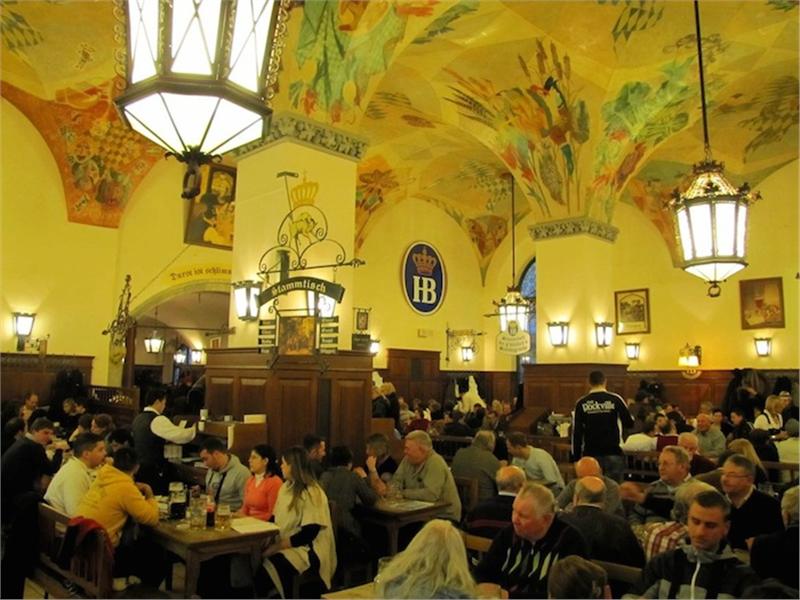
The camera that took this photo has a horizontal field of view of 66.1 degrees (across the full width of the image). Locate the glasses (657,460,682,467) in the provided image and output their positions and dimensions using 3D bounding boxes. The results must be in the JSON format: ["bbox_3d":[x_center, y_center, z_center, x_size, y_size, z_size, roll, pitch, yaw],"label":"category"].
[{"bbox_3d":[2.428,1.465,5.503,0.176,0.060,0.051,-2,-8,24],"label":"glasses"}]

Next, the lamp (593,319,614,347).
[{"bbox_3d":[3.990,0.651,12.232,0.418,0.545,0.512,-5,-10,44],"label":"lamp"}]

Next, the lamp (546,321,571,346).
[{"bbox_3d":[3.151,0.667,12.305,0.469,0.537,0.427,-1,-8,23],"label":"lamp"}]

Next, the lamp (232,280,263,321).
[{"bbox_3d":[-2.155,-0.003,8.594,0.502,0.549,0.227,-4,-9,32],"label":"lamp"}]

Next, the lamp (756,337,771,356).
[{"bbox_3d":[8.696,1.087,14.658,0.383,0.447,0.379,-2,-10,34],"label":"lamp"}]

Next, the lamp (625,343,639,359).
[{"bbox_3d":[6.325,1.366,16.730,0.402,0.406,0.384,0,-10,9],"label":"lamp"}]

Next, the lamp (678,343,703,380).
[{"bbox_3d":[7.426,1.555,15.705,0.749,0.974,0.744,12,-13,-39],"label":"lamp"}]

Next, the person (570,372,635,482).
[{"bbox_3d":[2.599,1.842,7.976,0.755,1.833,0.564,-1,3,11],"label":"person"}]

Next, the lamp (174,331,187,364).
[{"bbox_3d":[-8.111,1.771,22.619,0.492,1.082,0.815,4,-8,-19],"label":"lamp"}]

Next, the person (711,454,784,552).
[{"bbox_3d":[2.703,1.586,4.788,0.411,0.713,0.429,22,-36,-13],"label":"person"}]

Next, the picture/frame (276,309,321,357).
[{"bbox_3d":[-1.348,0.443,7.926,0.642,0.549,0.071,-3,-8,28],"label":"picture/frame"}]

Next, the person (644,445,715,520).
[{"bbox_3d":[2.483,1.692,5.538,0.490,0.769,0.629,17,-16,-41],"label":"person"}]

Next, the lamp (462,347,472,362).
[{"bbox_3d":[2.023,1.616,18.601,0.379,0.501,0.432,-4,-8,36],"label":"lamp"}]

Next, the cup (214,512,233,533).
[{"bbox_3d":[-1.500,1.849,5.149,0.152,0.131,0.100,3,-8,-6],"label":"cup"}]

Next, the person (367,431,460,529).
[{"bbox_3d":[0.110,1.903,6.610,1.003,0.988,0.857,2,-7,-6],"label":"person"}]

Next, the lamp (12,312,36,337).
[{"bbox_3d":[-7.208,0.441,11.829,0.390,0.469,0.472,-9,-9,41],"label":"lamp"}]

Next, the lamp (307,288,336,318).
[{"bbox_3d":[-1.058,0.044,8.095,0.381,0.236,0.301,2,-7,-18],"label":"lamp"}]

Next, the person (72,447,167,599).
[{"bbox_3d":[-2.454,1.962,5.399,0.739,1.164,0.721,3,2,40],"label":"person"}]

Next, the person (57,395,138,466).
[{"bbox_3d":[-4.035,1.690,8.083,0.353,0.653,0.970,10,-16,-41],"label":"person"}]

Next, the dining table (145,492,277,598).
[{"bbox_3d":[-1.617,1.894,5.279,0.693,0.847,0.897,9,-11,-32],"label":"dining table"}]

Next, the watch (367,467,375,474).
[{"bbox_3d":[-0.331,1.856,6.694,0.069,0.024,0.070,0,-2,29],"label":"watch"}]
